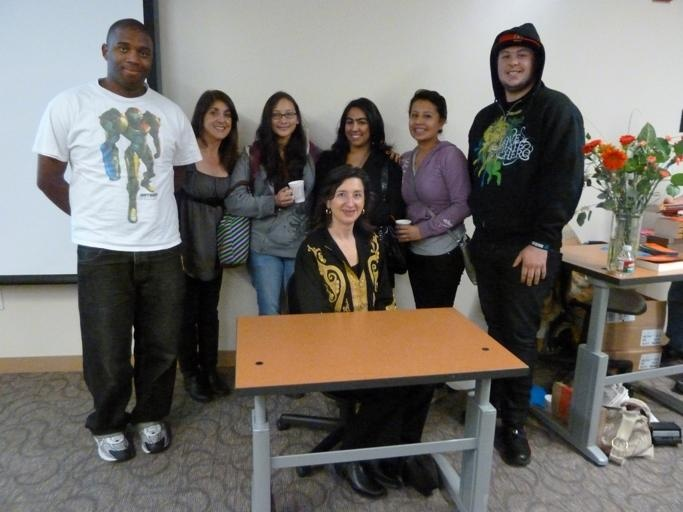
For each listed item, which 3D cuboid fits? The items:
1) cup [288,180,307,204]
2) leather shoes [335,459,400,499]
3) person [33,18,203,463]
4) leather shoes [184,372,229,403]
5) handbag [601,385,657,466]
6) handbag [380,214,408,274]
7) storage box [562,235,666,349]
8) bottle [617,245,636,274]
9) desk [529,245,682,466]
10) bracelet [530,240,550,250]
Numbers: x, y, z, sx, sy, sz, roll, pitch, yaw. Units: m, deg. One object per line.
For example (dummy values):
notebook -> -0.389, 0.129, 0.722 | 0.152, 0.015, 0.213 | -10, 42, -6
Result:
cup -> -0.263, -0.401, 3.357 | 0.091, 0.133, 0.138 | -12, 14, -16
leather shoes -> 0.121, 1.129, 2.803 | 0.333, 0.148, 0.129 | 21, 49, 24
person -> -1.165, -0.048, 2.998 | 0.794, 2.364, 0.408 | -7, 17, -29
leather shoes -> -0.896, 0.866, 3.649 | 0.162, 0.108, 0.263 | -4, 4, -39
handbag -> 1.648, 0.921, 3.148 | 0.317, 0.184, 0.430 | 15, 53, 21
handbag -> 0.320, -0.076, 3.486 | 0.132, 0.311, 0.233 | -6, 19, -26
storage box -> 1.685, 0.202, 3.282 | 0.615, 0.407, 0.660 | -6, 22, -13
bottle -> 1.583, 0.010, 3.030 | 0.097, 0.154, 0.070 | 5, 15, 14
desk -> 1.623, 0.612, 3.307 | 0.969, 0.713, 0.657 | -8, 23, -15
bracelet -> 1.088, -0.059, 2.982 | 0.105, 0.052, 0.025 | 5, 15, 12
